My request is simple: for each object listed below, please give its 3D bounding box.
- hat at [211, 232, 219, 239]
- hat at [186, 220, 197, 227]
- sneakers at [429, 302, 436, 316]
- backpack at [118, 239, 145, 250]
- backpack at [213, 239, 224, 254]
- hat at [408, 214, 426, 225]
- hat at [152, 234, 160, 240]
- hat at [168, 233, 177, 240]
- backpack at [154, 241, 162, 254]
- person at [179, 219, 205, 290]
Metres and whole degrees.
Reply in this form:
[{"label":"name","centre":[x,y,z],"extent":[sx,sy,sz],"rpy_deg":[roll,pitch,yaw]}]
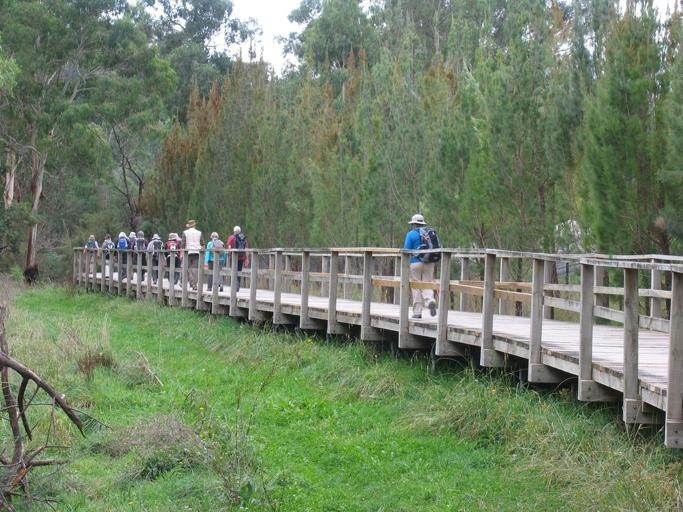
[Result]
[{"label":"hat","centre":[-3.606,-0.583,27.537],"extent":[0.199,0.311,0.272],"rpy_deg":[1,11,-5]},{"label":"hat","centre":[-4.107,-0.842,26.576],"extent":[0.239,0.129,0.313],"rpy_deg":[-9,15,12]},{"label":"sneakers","centre":[1.727,0.987,18.264],"extent":[0.144,0.292,0.350],"rpy_deg":[1,-2,-2]},{"label":"backpack","centre":[-7.345,-0.408,33.617],"extent":[0.689,0.520,1.034],"rpy_deg":[2,4,-3]},{"label":"backpack","centre":[-3.192,-0.179,24.955],"extent":[0.295,0.583,0.190],"rpy_deg":[-3,-8,-3]},{"label":"hat","centre":[1.433,-0.694,18.620],"extent":[0.264,0.172,0.282],"rpy_deg":[-6,-3,39]},{"label":"hat","centre":[-6.187,-0.653,32.248],"extent":[0.231,0.132,0.271],"rpy_deg":[3,2,18]},{"label":"hat","centre":[-5.160,-0.594,29.484],"extent":[0.199,0.236,0.226],"rpy_deg":[-15,3,22]},{"label":"backpack","centre":[-5.607,-0.258,29.372],"extent":[0.244,0.498,0.241],"rpy_deg":[0,-8,-5]},{"label":"person","centre":[-4.078,-0.046,26.379],"extent":[0.570,1.896,2.566],"rpy_deg":[2,-2,-9]}]
